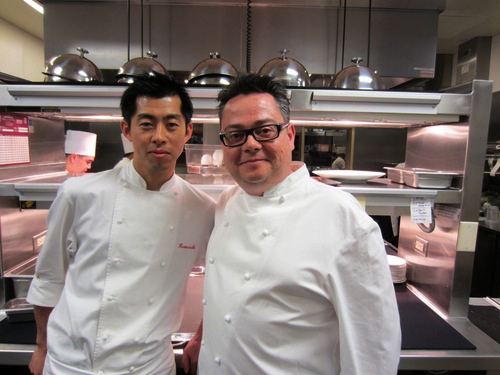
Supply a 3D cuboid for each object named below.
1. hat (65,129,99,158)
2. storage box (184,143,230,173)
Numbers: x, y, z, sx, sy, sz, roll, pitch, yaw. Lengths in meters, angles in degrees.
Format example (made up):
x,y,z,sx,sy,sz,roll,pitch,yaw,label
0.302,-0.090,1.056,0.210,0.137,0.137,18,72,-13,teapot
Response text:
x,y,z,sx,sy,sz,roll,pitch,yaw,label
-1.204,-0.311,2.868,0.187,0.159,0.188,4,5,-3,hat
-0.330,-0.198,2.926,0.236,0.157,0.246,1,2,-1,storage box
